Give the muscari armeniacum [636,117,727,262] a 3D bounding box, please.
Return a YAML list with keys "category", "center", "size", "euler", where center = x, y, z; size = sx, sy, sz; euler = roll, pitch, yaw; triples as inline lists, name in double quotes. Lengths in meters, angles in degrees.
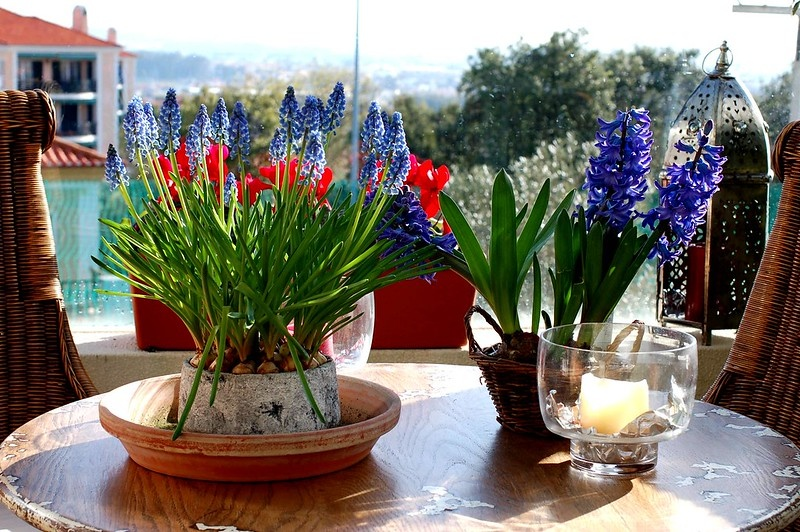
- category: "muscari armeniacum"
  center: [0.417, -0.102, 1.360]
  size: [0.097, 0.291, 0.102]
  euler: [-3, 13, -23]
